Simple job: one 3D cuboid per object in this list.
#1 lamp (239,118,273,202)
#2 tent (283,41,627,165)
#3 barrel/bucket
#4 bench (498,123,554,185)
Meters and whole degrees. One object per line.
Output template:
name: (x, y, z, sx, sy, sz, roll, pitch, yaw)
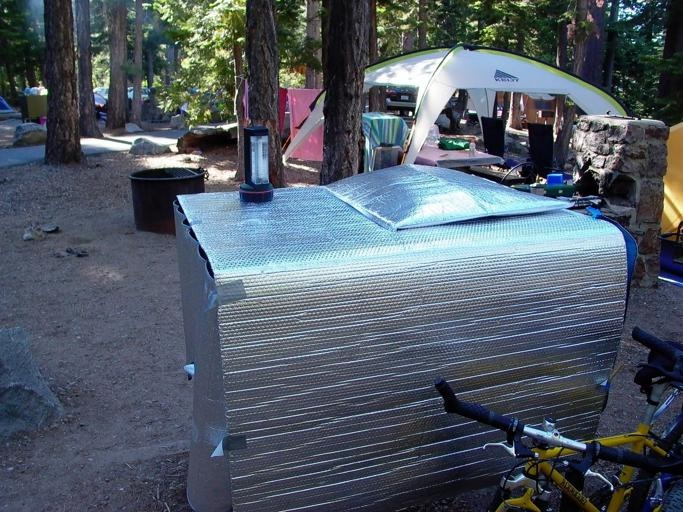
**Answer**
lamp: (-0.623, -0.670, 4.353, 0.239, 0.479, 0.494, -1, 19, -8)
tent: (2.613, -3.039, 11.668, 4.555, 1.932, 3.415, -6, 21, -21)
barrel/bucket: (-2.880, -0.804, 9.311, 1.126, 0.827, 1.064, 2, 7, 0)
bench: (3.229, -1.682, 9.957, 0.573, 1.039, 1.153, 8, 20, 18)
